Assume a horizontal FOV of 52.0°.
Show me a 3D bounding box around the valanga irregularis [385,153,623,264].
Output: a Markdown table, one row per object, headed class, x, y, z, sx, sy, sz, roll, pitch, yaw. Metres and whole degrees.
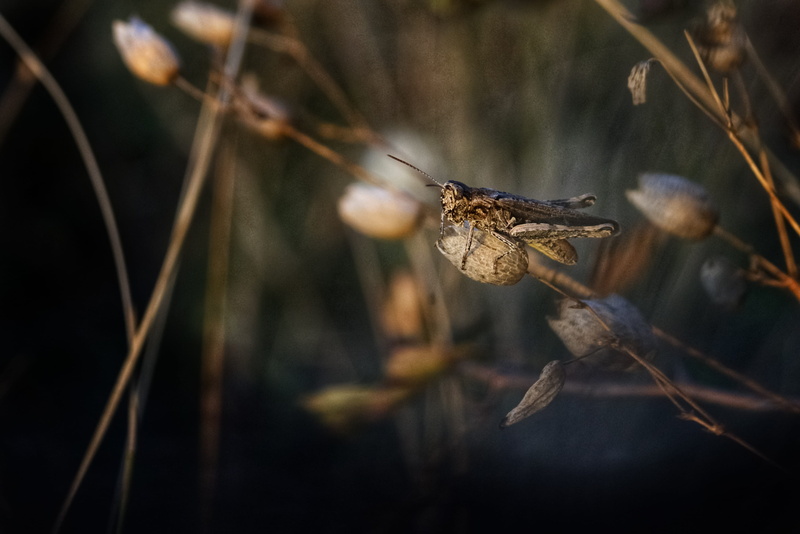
| class | x | y | z | sx | sy | sz | roll | pitch | yaw |
| --- | --- | --- | --- | --- | --- | --- | --- | --- | --- |
| valanga irregularis | 0.111 | -0.055 | 0.897 | 0.232 | 0.085 | 0.103 | 12 | -64 | -6 |
